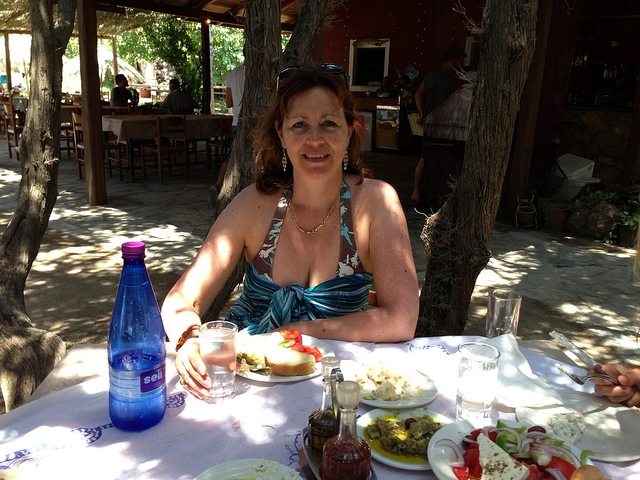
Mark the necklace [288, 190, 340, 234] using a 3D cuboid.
[{"bbox_3d":[-0.034,-0.127,2.155,0.246,0.178,0.116,2,13,-2],"label":"necklace"}]

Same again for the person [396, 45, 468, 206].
[{"bbox_3d":[1.808,-1.842,7.286,0.859,2.510,0.681,26,19,37],"label":"person"}]

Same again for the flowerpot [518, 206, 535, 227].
[{"bbox_3d":[3.128,-0.342,6.799,0.265,0.250,0.291,6,8,38],"label":"flowerpot"}]

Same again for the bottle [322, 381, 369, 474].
[{"bbox_3d":[0.060,0.434,1.031,0.113,0.248,0.076,4,14,8],"label":"bottle"}]

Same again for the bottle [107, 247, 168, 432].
[{"bbox_3d":[-0.512,0.269,1.240,0.152,0.505,0.149,2,13,0],"label":"bottle"}]

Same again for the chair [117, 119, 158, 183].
[{"bbox_3d":[-3.630,-1.883,8.946,0.769,1.213,0.857,-6,20,-28],"label":"chair"}]

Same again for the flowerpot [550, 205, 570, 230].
[{"bbox_3d":[3.634,-0.340,6.765,0.334,0.352,0.343,-3,7,1],"label":"flowerpot"}]

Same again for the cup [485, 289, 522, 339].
[{"bbox_3d":[0.704,0.305,1.748,0.115,0.191,0.114,4,9,-1],"label":"cup"}]
